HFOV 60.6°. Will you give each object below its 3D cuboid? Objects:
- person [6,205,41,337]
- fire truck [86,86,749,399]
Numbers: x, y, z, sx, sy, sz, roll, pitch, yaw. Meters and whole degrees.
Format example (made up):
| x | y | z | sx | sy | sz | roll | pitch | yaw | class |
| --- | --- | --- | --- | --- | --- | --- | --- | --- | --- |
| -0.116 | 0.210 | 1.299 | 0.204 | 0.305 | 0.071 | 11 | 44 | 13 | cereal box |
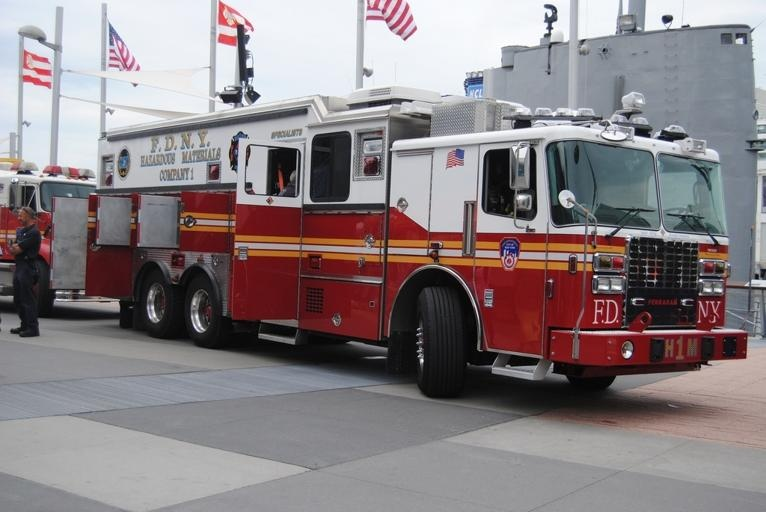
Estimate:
| x | y | z | sx | sy | sz | roll | pitch | yaw | class |
| --- | --- | --- | --- | --- | --- | --- | --- | --- | --- |
| -6.893 | 0.297 | 12.647 | 0.524 | 2.478 | 0.556 | 1 | 1 | -30 | person |
| -1.217 | -0.444 | 11.809 | 13.527 | 3.990 | 2.794 | 2 | 1 | 34 | fire truck |
